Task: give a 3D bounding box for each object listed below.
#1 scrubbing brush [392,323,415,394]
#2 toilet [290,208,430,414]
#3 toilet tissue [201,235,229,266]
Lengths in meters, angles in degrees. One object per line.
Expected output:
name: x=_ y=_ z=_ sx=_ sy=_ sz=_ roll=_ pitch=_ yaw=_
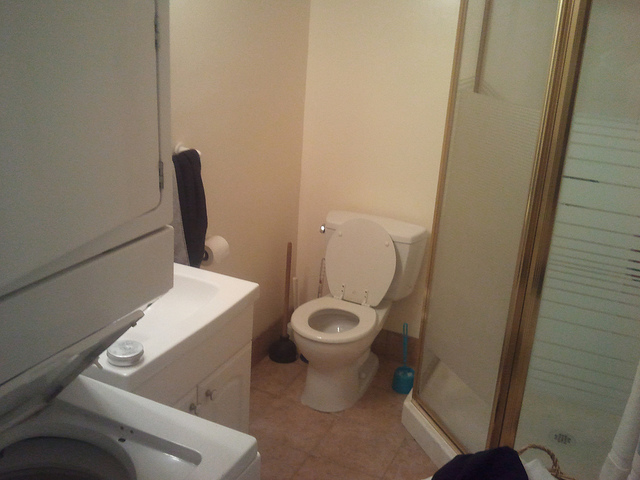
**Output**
scrubbing brush: x=0.457 y=0.658 z=2.828 sx=0.097 sy=0.396 sz=0.120 roll=2 pitch=21 yaw=-4
toilet: x=0.157 y=0.388 z=2.767 sx=0.624 sy=0.925 sz=0.816 roll=10 pitch=19 yaw=21
toilet tissue: x=-0.469 y=0.044 z=2.224 sx=0.081 sy=0.092 sz=0.104 roll=45 pitch=37 yaw=12
